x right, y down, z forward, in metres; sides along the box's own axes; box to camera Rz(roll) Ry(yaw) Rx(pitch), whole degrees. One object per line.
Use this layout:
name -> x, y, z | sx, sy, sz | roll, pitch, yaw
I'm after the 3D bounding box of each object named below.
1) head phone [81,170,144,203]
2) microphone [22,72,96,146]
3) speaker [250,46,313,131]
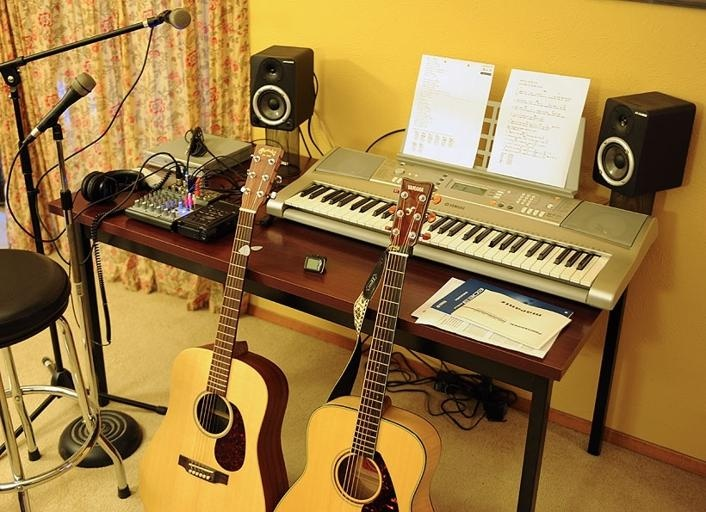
head phone -> -0.975, -0.277, 2.347 | 0.208, 0.095, 0.238 | 7, 15, 34
microphone -> -0.971, -0.471, 1.893 | 0.173, 0.278, 0.299 | -3, 21, -35
speaker -> -0.306, -0.715, 2.456 | 0.225, 0.351, 0.259 | 16, 35, 25
